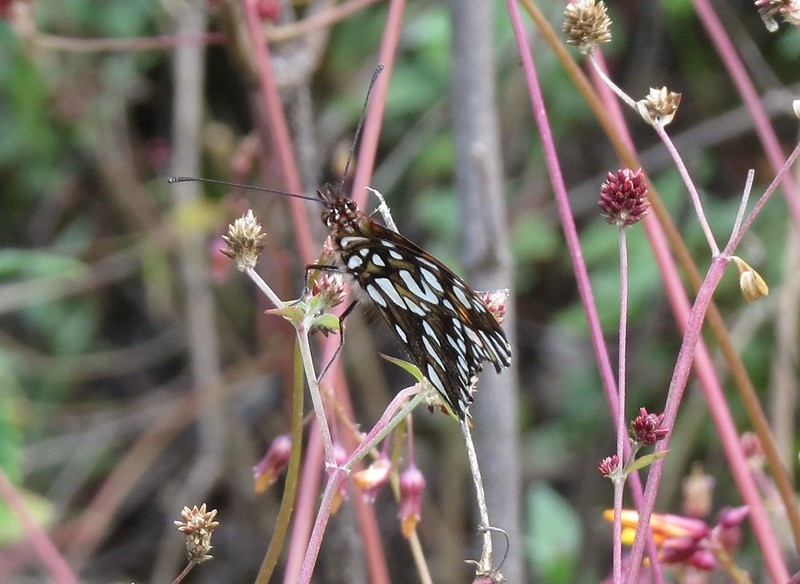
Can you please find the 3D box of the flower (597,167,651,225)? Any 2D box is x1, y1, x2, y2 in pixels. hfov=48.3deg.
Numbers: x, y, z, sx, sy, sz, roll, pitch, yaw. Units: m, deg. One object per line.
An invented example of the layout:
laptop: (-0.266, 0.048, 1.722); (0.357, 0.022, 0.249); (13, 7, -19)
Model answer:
flower: (0.320, -0.142, 1.253); (0.072, 0.094, 0.074); (-7, 18, -24)
